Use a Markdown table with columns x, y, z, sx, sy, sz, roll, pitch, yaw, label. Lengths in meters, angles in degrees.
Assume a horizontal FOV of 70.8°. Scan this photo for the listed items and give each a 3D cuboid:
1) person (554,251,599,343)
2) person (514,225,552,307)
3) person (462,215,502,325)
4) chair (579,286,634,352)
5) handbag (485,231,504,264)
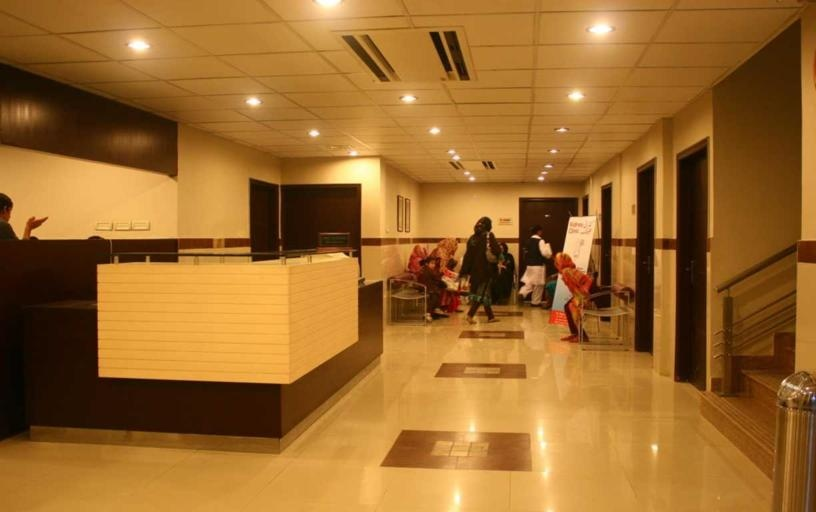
| x | y | z | sx | sy | sz | roll | pitch | yaw | label |
| --- | --- | --- | --- | --- | --- | --- | --- | --- | --- |
| 2.834 | 0.745 | 9.783 | 0.592 | 1.543 | 0.998 | -1 | 9 | -6 | person |
| 3.029 | 0.294 | 13.725 | 0.600 | 2.050 | 1.587 | 1 | 9 | 6 | person |
| 1.484 | 0.337 | 11.840 | 0.771 | 2.188 | 1.196 | 0 | 9 | 5 | person |
| 3.537 | 1.140 | 10.058 | 0.998 | 1.188 | 1.264 | 0 | -3 | 14 | chair |
| 1.734 | -0.134 | 11.767 | 0.461 | 0.585 | 0.256 | -4 | -8 | 7 | handbag |
